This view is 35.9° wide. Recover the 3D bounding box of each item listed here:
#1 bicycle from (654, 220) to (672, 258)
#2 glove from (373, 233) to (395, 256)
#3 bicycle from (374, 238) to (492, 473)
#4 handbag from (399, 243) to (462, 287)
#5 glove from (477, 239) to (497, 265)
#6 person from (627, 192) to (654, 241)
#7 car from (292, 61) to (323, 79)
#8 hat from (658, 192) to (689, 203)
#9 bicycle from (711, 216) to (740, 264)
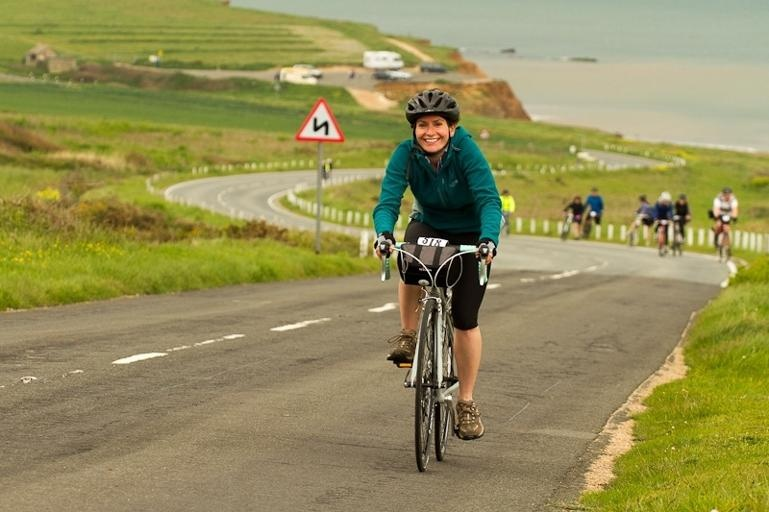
[{"bbox_3d":[9.833,-0.644,40.940,0.782,1.030,1.658,2,9,13],"label":"bicycle"},{"bbox_3d":[-0.014,-0.148,15.669,0.210,0.307,0.139,-3,-27,27],"label":"glove"},{"bbox_3d":[0.656,1.264,15.851,1.219,2.977,1.013,-6,12,-40],"label":"bicycle"},{"bbox_3d":[0.627,0.108,15.850,0.753,0.538,0.725,10,21,23],"label":"handbag"},{"bbox_3d":[1.350,-0.058,15.655,0.223,0.345,0.289,3,10,6],"label":"glove"},{"bbox_3d":[9.336,-1.411,42.888,1.041,1.200,1.853,-2,-1,11],"label":"person"},{"bbox_3d":[-3.891,-9.270,60.147,1.274,0.631,2.822,0,10,-14],"label":"car"},{"bbox_3d":[9.414,-1.853,38.587,0.664,0.294,0.459,0,13,2],"label":"hat"},{"bbox_3d":[10.883,-0.552,37.423,0.786,1.042,1.759,0,1,4],"label":"bicycle"}]
